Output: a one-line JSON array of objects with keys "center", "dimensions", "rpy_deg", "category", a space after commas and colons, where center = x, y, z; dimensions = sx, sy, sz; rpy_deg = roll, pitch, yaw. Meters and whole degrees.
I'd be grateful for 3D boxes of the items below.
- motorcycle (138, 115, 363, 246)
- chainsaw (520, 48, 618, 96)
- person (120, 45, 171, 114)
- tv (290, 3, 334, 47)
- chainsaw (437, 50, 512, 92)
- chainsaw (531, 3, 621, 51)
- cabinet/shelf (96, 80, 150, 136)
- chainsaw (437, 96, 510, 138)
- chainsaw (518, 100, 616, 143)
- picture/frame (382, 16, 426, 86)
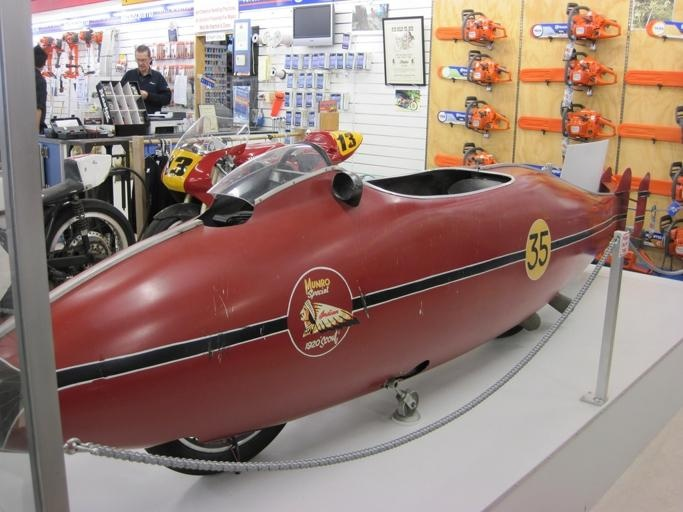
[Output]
[{"center": [-0.745, -0.701, 4.337], "dimensions": [1.845, 1.049, 0.913], "rpy_deg": [-23, 14, -21], "category": "motorcycle"}, {"center": [2.319, -1.852, 5.147], "dimensions": [0.342, 0.431, 0.878], "rpy_deg": [-7, 13, -30], "category": "chainsaw"}, {"center": [-3.002, -2.521, 7.707], "dimensions": [0.681, 1.270, 0.643], "rpy_deg": [4, 42, -13], "category": "person"}, {"center": [-0.385, -3.199, 6.954], "dimensions": [0.647, 0.560, 0.078], "rpy_deg": [4, 14, 16], "category": "tv"}, {"center": [1.502, -2.112, 5.760], "dimensions": [0.308, 0.429, 0.846], "rpy_deg": [-10, 14, -41], "category": "chainsaw"}, {"center": [2.312, -2.227, 4.900], "dimensions": [0.796, 0.427, 0.397], "rpy_deg": [13, 18, 34], "category": "chainsaw"}, {"center": [-2.267, -1.569, 5.290], "dimensions": [0.406, 0.679, 0.630], "rpy_deg": [18, 28, 31], "category": "cabinet/shelf"}, {"center": [1.514, -1.620, 5.864], "dimensions": [0.305, 0.434, 0.852], "rpy_deg": [-10, 14, -39], "category": "chainsaw"}, {"center": [2.320, -1.364, 5.175], "dimensions": [0.330, 0.365, 0.920], "rpy_deg": [-10, 14, -39], "category": "chainsaw"}, {"center": [0.782, -2.573, 6.319], "dimensions": [0.559, 0.802, 0.020], "rpy_deg": [13, 33, 31], "category": "picture/frame"}]
